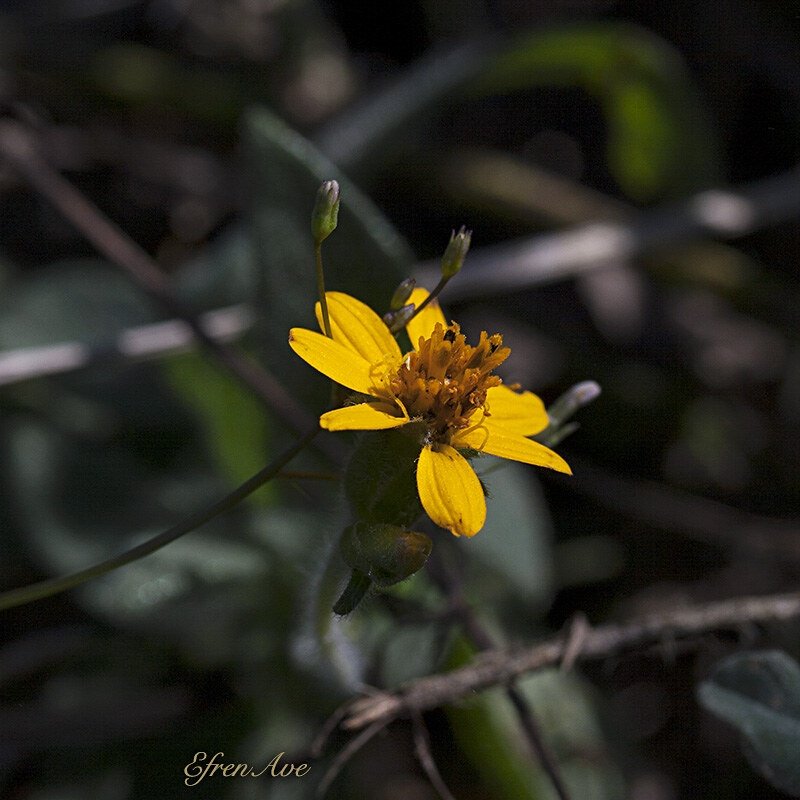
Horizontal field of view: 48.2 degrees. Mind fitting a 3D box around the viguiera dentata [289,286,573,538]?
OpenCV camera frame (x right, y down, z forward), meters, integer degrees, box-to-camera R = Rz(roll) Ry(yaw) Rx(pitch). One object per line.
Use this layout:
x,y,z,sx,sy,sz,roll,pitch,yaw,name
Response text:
0.054,0.007,1.416,0.468,0.399,0.164,27,55,2,viguiera dentata
